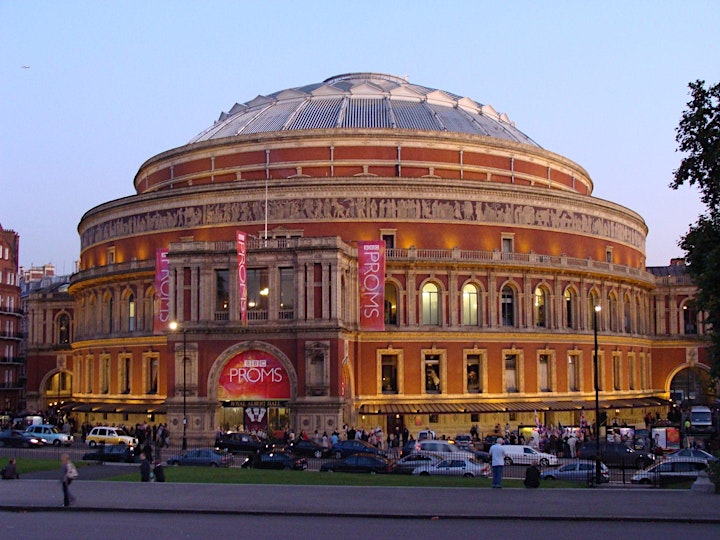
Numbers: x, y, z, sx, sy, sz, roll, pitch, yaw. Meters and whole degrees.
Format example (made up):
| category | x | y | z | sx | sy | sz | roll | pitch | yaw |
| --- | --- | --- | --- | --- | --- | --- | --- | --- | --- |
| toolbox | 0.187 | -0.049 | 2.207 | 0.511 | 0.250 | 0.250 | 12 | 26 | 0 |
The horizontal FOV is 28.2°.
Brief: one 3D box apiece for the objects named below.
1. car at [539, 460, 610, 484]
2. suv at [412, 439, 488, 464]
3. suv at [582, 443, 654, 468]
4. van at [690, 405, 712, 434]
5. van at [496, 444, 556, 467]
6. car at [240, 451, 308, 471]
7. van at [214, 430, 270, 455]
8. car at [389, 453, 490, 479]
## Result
| category | x | y | z | sx | sy | sz | roll | pitch | yaw |
| --- | --- | --- | --- | --- | --- | --- | --- | --- | --- |
| car | 12.271 | 11.600 | 82.300 | 3.278 | 1.185 | 1.797 | -9 | -16 | 31 |
| suv | 5.116 | 10.998 | 86.436 | 3.418 | 1.223 | 1.548 | -2 | -3 | 13 |
| suv | 15.782 | 11.492 | 88.533 | 3.719 | 1.449 | 1.701 | -2 | -4 | 10 |
| van | 25.428 | 11.020 | 105.942 | 1.688 | 2.173 | 1.937 | -4 | -14 | 14 |
| van | 10.452 | 11.716 | 87.925 | 3.649 | 1.182 | 1.986 | -1 | -1 | -2 |
| car | -5.058 | 11.285 | 84.454 | 3.327 | 1.101 | 1.389 | 2 | -7 | 9 |
| van | -7.682 | 11.201 | 92.977 | 2.852 | 0.984 | 1.550 | 1 | 0 | 5 |
| car | 4.796 | 11.471 | 83.756 | 4.419 | 1.213 | 1.917 | 3 | -9 | 4 |
